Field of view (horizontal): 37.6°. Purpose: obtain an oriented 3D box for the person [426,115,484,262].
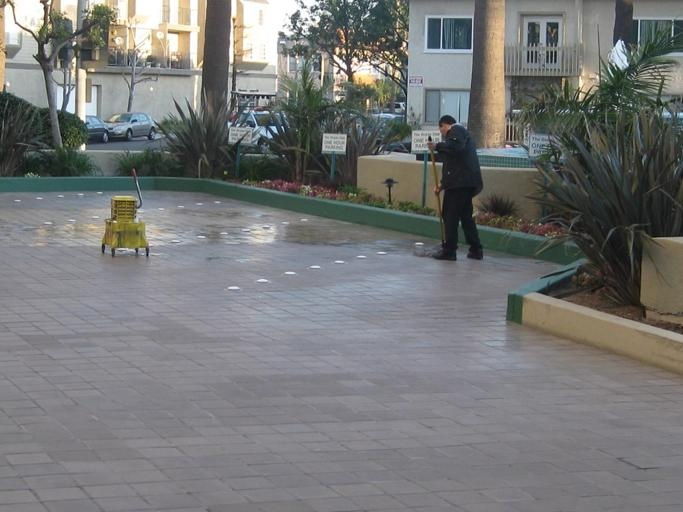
[{"bbox_3d":[1.557,-0.924,13.519,0.748,1.901,0.731,2,9,8],"label":"person"}]
